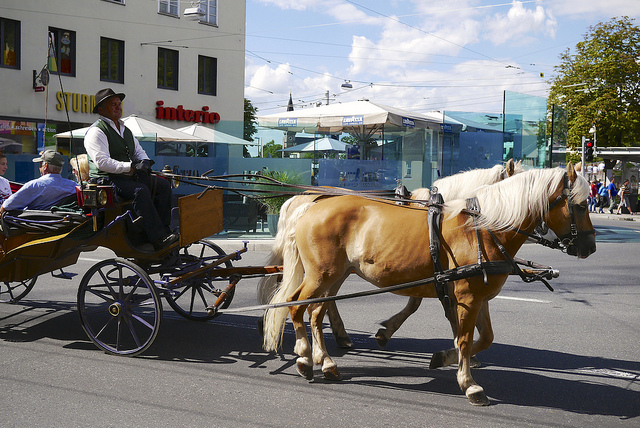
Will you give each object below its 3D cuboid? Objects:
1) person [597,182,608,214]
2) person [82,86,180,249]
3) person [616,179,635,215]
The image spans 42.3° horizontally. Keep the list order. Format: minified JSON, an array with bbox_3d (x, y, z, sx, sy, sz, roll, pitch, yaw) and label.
[{"bbox_3d":[13.650,-0.710,40.060,0.369,1.323,2.628,3,6,18],"label":"person"},{"bbox_3d":[-3.295,-0.808,14.256,1.520,2.701,0.990,1,7,2],"label":"person"},{"bbox_3d":[14.367,-0.785,39.016,0.746,1.555,1.446,3,7,20],"label":"person"}]
